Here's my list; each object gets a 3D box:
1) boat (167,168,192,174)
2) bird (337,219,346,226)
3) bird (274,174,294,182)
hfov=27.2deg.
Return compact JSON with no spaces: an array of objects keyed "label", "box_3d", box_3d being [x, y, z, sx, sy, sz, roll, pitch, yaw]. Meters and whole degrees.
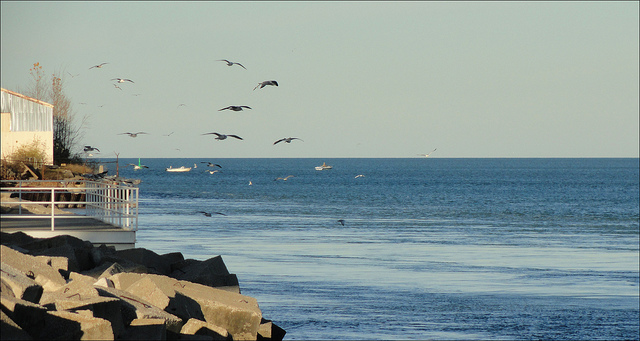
[{"label":"boat","box_3d":[-25.185,0.207,246.419,6.816,1.048,1.151,-2,12,-1]},{"label":"bird","box_3d":[2.031,4.794,123.222,0.611,0.330,0.546,-8,-11,17]},{"label":"bird","box_3d":[-5.510,1.217,197.015,2.653,0.944,0.494,-6,-37,37]}]
